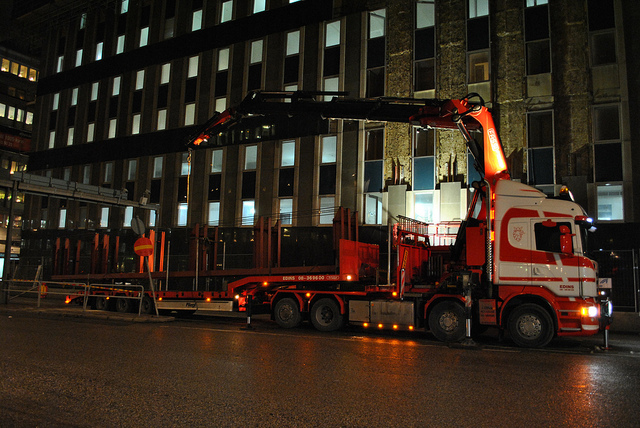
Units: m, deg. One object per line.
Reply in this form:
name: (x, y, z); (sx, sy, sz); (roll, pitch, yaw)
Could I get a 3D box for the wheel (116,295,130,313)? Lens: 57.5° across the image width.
wheel: (-9.542, 4.395, 28.027); (0.856, 0.602, 0.310); (3, 6, 34)

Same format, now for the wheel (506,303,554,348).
wheel: (7.385, 3.909, 20.343); (1.512, 1.594, 0.547); (-13, -6, 31)

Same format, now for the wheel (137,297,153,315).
wheel: (-8.127, 4.277, 27.157); (0.905, 0.956, 0.331); (4, 3, 19)

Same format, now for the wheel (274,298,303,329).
wheel: (-1.293, 4.080, 24.194); (1.279, 1.343, 0.438); (-2, 3, 31)
